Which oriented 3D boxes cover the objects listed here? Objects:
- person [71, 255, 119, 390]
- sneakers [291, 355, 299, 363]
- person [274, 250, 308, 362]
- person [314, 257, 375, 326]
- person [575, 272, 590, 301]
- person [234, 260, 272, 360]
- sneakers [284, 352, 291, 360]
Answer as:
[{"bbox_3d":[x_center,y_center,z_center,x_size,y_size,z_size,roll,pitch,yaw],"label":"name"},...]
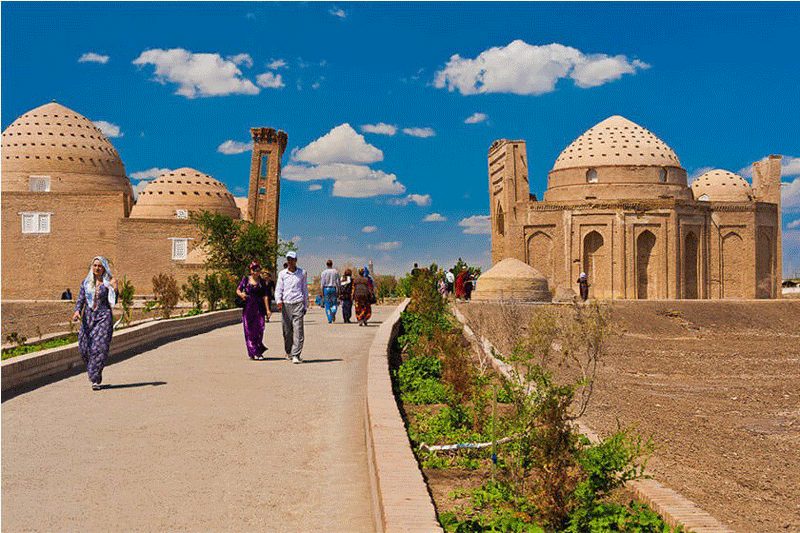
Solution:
[{"bbox_3d":[-4.831,0.843,12.942,0.616,1.789,1.214,1,0,-19],"label":"person"},{"bbox_3d":[-1.860,1.616,14.442,0.094,0.101,0.249,1,-12,-14],"label":"sneakers"},{"bbox_3d":[-1.977,0.698,14.745,0.561,1.828,0.822,1,0,-9],"label":"person"},{"bbox_3d":[-1.089,0.748,21.124,0.714,1.450,1.278,1,0,-25],"label":"person"},{"bbox_3d":[9.273,1.003,41.978,0.674,1.424,0.869,1,-7,12],"label":"person"},{"bbox_3d":[-2.746,0.777,15.231,0.568,1.605,1.120,1,0,-9],"label":"person"},{"bbox_3d":[-2.056,1.614,14.840,0.137,0.123,0.123,0,-4,1],"label":"sneakers"}]
